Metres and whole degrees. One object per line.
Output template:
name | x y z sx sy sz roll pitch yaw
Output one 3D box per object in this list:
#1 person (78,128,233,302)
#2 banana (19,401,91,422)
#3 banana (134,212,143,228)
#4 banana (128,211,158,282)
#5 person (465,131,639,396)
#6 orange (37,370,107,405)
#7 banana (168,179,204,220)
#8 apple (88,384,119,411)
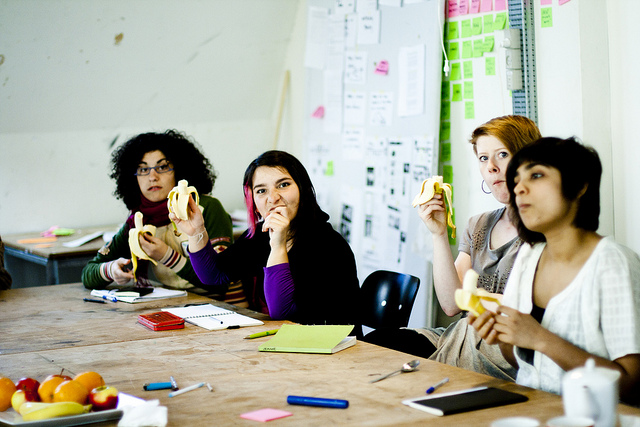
person | -0.987 0.051 3.058 0.969 1.024 0.615 -8 6 16
banana | -0.746 0.542 1.411 0.145 0.045 0.070 -2 2 -6
banana | -0.945 0.033 2.637 0.034 0.076 0.030 -4 10 -15
banana | -0.941 0.170 2.690 0.134 0.306 0.143 -3 12 -30
person | 0.778 0.176 1.693 0.492 0.835 0.417 4 11 28
orange | -0.747 0.514 1.520 0.137 0.068 0.124 0 3 23
banana | -0.683 -0.060 2.548 0.150 0.192 0.213 -4 -13 34
apple | -0.633 0.533 1.489 0.065 0.059 0.062 -2 19 -7
